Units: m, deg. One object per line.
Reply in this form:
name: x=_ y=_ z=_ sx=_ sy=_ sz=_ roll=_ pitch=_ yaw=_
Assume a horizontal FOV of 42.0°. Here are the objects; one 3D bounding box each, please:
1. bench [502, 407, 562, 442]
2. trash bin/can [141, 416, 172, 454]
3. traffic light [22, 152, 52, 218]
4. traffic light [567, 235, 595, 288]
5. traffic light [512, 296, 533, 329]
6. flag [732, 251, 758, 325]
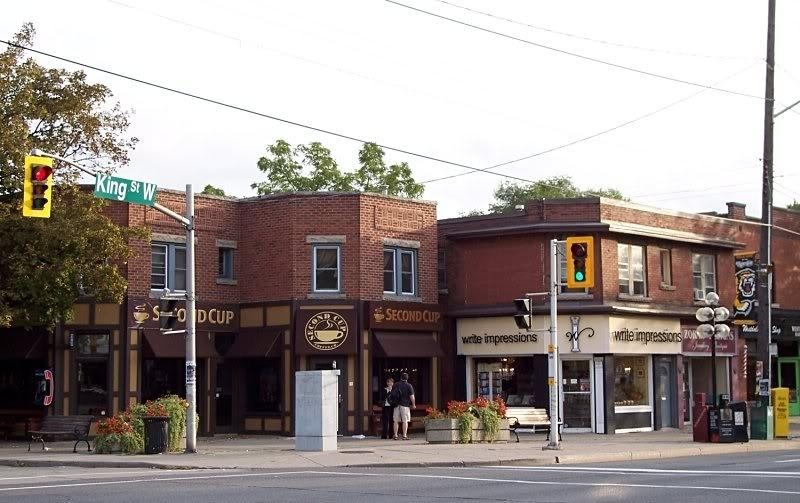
bench: x=5.330 y=6.948 z=43.688 sx=3.484 sy=1.998 sz=1.696 roll=-2 pitch=-2 yaw=10
trash bin/can: x=-8.775 y=6.588 z=37.413 sx=1.214 sy=1.435 sz=1.148 roll=-1 pitch=-12 yaw=3
traffic light: x=-10.942 y=-2.039 z=31.459 sx=0.771 sy=1.967 sz=0.696 roll=5 pitch=-13 yaw=-23
traffic light: x=5.986 y=0.298 z=34.817 sx=0.873 sy=1.574 sz=0.534 roll=-6 pitch=-13 yaw=24
traffic light: x=4.232 y=2.113 z=36.076 sx=0.916 sy=1.017 sz=0.930 roll=-3 pitch=-8 yaw=21
flag: x=15.162 y=1.659 z=45.612 sx=1.120 sy=2.858 sz=0.850 roll=-6 pitch=-13 yaw=25
